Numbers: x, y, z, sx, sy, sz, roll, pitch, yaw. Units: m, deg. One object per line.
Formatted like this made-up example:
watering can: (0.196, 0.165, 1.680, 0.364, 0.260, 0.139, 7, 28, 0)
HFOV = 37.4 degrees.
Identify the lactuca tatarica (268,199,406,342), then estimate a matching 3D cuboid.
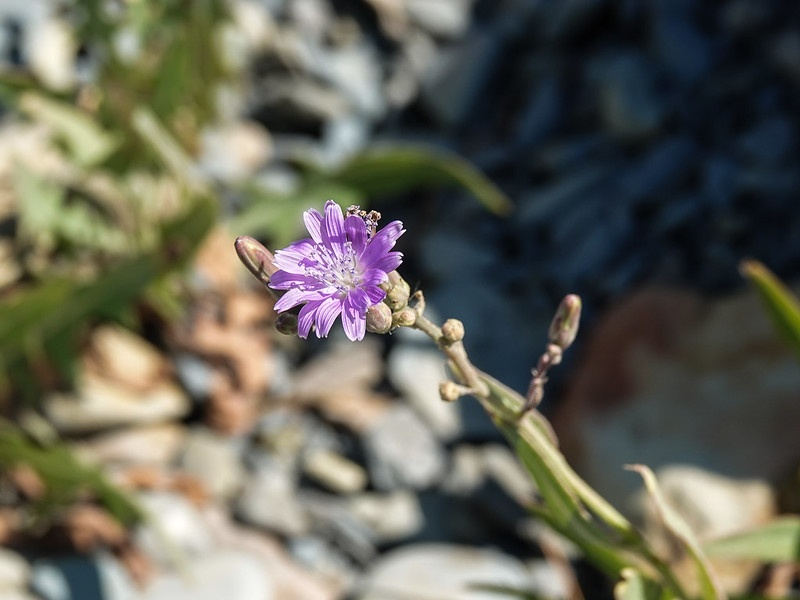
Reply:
lactuca tatarica: (-0.090, -0.053, 1.912, 0.243, 0.106, 0.253, 13, 43, 30)
